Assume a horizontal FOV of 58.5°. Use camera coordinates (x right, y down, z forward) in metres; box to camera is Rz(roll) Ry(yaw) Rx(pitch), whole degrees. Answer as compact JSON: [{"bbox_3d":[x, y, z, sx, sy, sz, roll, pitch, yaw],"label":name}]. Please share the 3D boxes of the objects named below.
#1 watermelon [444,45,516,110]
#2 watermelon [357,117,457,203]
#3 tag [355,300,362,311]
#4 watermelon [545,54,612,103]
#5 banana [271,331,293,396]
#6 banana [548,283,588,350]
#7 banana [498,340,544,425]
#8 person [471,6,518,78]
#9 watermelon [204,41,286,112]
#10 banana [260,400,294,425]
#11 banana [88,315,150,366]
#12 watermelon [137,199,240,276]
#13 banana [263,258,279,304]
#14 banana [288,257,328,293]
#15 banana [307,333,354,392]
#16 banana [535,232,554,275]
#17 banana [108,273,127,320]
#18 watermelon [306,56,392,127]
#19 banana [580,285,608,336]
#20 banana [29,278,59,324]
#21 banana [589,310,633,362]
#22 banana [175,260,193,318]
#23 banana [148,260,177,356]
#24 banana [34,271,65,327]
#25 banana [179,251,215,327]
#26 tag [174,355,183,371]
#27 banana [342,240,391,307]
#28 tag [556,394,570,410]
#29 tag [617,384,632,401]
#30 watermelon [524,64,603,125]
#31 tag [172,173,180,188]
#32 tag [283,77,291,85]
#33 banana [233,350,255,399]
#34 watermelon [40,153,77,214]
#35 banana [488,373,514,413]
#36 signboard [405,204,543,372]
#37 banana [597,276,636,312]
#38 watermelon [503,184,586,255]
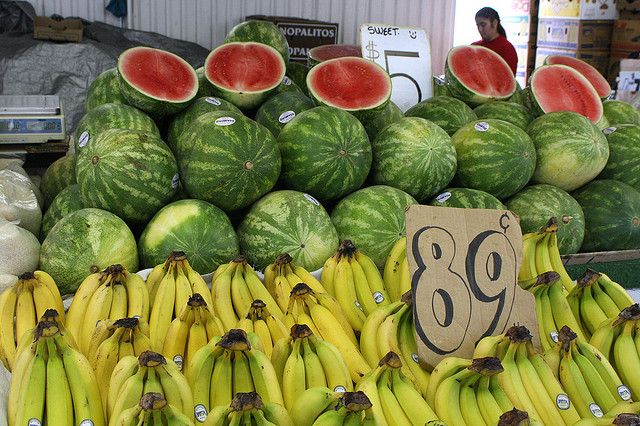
[{"bbox_3d":[1.194,-1.064,4.460,0.479,0.587,0.222,-7,-30,-25],"label":"watermelon"},{"bbox_3d":[0.629,-0.310,3.777,0.487,0.658,0.482,18,-18,7],"label":"watermelon"},{"bbox_3d":[0.190,0.466,2.860,0.016,0.063,0.014,-31,8,-33],"label":"tag"},{"bbox_3d":[2.161,-1.253,5.245,0.657,0.241,0.612,14,5,42],"label":"watermelon"},{"bbox_3d":[-0.173,0.649,2.461,0.063,0.269,0.087,3,4,-16],"label":"banana"},{"bbox_3d":[1.176,0.522,2.752,0.131,0.163,0.527,-29,6,22],"label":"banana"},{"bbox_3d":[0.841,0.734,2.412,0.052,0.332,0.119,-6,-16,-21],"label":"banana"},{"bbox_3d":[2.251,-2.201,7.367,0.498,0.925,0.787,-1,3,17],"label":"person"},{"bbox_3d":[-0.535,-0.962,4.093,0.736,0.338,0.662,-6,3,-27],"label":"watermelon"},{"bbox_3d":[-0.169,0.782,2.229,0.123,0.121,0.158,-2,3,-4],"label":"banana"},{"bbox_3d":[-0.893,0.549,2.484,0.192,0.272,0.089,-32,25,-28],"label":"banana"},{"bbox_3d":[-0.759,0.165,3.307,0.477,0.415,0.400,-22,-25,23],"label":"watermelon"},{"bbox_3d":[-0.253,0.346,2.911,0.077,0.227,0.054,-19,-16,28],"label":"banana"},{"bbox_3d":[-0.014,0.319,2.907,0.298,0.117,0.085,9,14,8],"label":"banana"},{"bbox_3d":[0.037,0.653,2.445,0.061,0.251,0.085,-23,6,37],"label":"banana"},{"bbox_3d":[1.164,0.235,3.001,0.071,0.240,0.145,8,-17,-9],"label":"banana"},{"bbox_3d":[-0.930,0.401,2.652,0.057,0.250,0.080,-2,-1,17],"label":"banana"},{"bbox_3d":[0.214,-0.872,3.868,0.460,0.535,0.208,-15,-36,-14],"label":"watermelon"},{"bbox_3d":[1.326,0.483,2.810,0.076,0.284,0.104,-21,-18,28],"label":"banana"},{"bbox_3d":[-1.298,0.422,2.673,0.071,0.202,0.054,-28,-3,-2],"label":"banana"},{"bbox_3d":[1.350,0.584,2.653,0.054,0.183,0.152,29,39,31],"label":"banana"},{"bbox_3d":[-0.643,0.364,2.718,0.073,0.315,0.105,5,-17,-22],"label":"banana"},{"bbox_3d":[-0.720,0.438,2.719,0.103,0.466,0.074,13,-10,4],"label":"banana"},{"bbox_3d":[-1.287,0.412,2.706,0.054,0.226,0.068,-16,-13,-16],"label":"banana"},{"bbox_3d":[-0.596,0.371,2.732,0.061,0.284,0.092,-22,-13,-5],"label":"banana"},{"bbox_3d":[-0.620,0.663,2.512,0.029,0.055,0.038,-20,10,-34],"label":"tag"},{"bbox_3d":[0.236,0.324,2.972,0.073,0.301,0.100,-25,-10,31],"label":"banana"},{"bbox_3d":[1.047,0.820,2.466,0.047,0.070,0.036,0,-9,-1],"label":"tag"},{"bbox_3d":[1.349,0.805,2.537,0.055,0.066,0.015,2,-9,-20],"label":"tag"},{"bbox_3d":[1.860,-0.929,4.379,0.449,0.556,0.194,-10,-23,-10],"label":"watermelon"},{"bbox_3d":[-0.841,-0.182,3.322,0.015,0.062,0.041,8,-11,24],"label":"tag"},{"bbox_3d":[-0.236,-0.933,4.059,0.045,0.063,0.033,0,0,-27],"label":"tag"},{"bbox_3d":[-0.308,0.661,2.337,0.055,0.232,0.078,-2,8,4],"label":"banana"},{"bbox_3d":[-1.713,-0.192,3.852,0.278,0.315,0.381,-5,-9,-25],"label":"watermelon"},{"bbox_3d":[0.749,0.790,2.381,0.060,0.130,0.272,-15,-3,8],"label":"banana"},{"bbox_3d":[0.689,0.372,2.642,0.650,0.865,0.085,-1,-3,-13],"label":"signboard"},{"bbox_3d":[1.527,0.426,2.966,0.057,0.179,0.115,-43,-13,17],"label":"banana"},{"bbox_3d":[1.469,-0.010,3.854,0.545,0.493,0.444,10,-1,21],"label":"watermelon"}]
